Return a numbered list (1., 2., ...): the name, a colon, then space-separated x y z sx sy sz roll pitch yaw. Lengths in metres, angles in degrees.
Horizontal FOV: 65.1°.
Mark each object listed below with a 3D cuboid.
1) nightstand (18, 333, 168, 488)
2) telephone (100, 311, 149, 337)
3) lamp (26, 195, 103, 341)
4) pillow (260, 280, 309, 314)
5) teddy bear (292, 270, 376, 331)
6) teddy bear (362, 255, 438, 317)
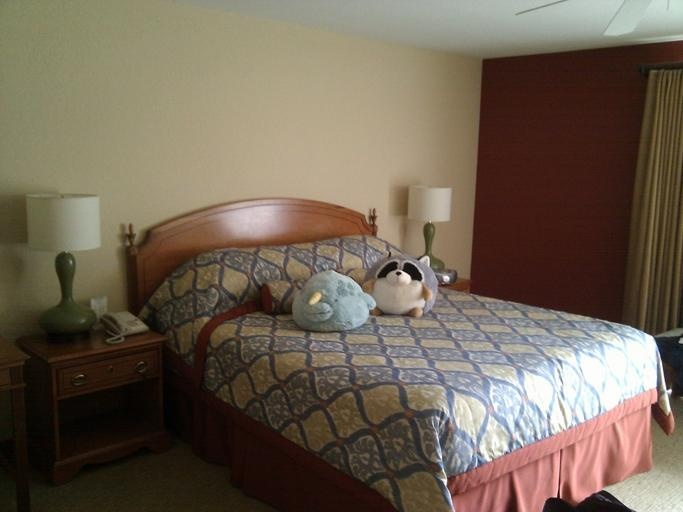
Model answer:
1. nightstand: -1.614 0.786 3.865 1.141 1.093 0.833 -6 7 -44
2. telephone: -1.513 0.451 3.659 0.233 0.071 0.177 17 16 38
3. lamp: -1.796 0.050 3.513 0.439 0.902 0.385 -4 15 -18
4. pillow: -0.434 0.286 3.806 0.266 0.243 0.177 1 43 -24
5. teddy bear: -0.063 0.303 3.767 0.561 0.366 0.625 5 8 13
6. teddy bear: 0.446 0.221 4.084 0.570 0.452 0.501 6 2 5
